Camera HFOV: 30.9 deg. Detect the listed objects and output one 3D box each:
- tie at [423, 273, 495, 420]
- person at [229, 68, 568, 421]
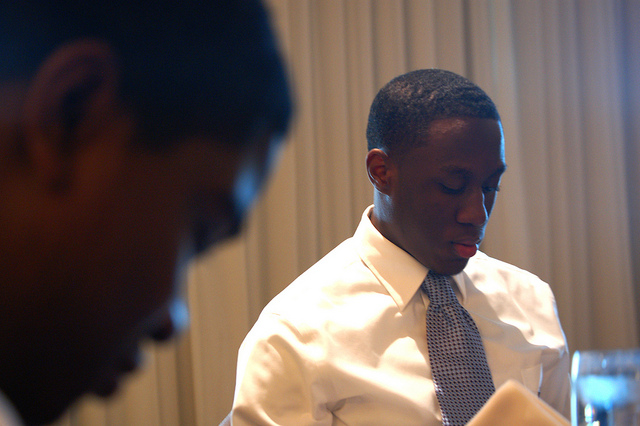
[{"bbox_3d":[0.586,0.623,5.056,0.159,0.794,0.059,-10,-26,2],"label":"tie"},{"bbox_3d":[0.289,0.169,5.357,1.401,1.448,0.810,10,-15,-34],"label":"person"}]
